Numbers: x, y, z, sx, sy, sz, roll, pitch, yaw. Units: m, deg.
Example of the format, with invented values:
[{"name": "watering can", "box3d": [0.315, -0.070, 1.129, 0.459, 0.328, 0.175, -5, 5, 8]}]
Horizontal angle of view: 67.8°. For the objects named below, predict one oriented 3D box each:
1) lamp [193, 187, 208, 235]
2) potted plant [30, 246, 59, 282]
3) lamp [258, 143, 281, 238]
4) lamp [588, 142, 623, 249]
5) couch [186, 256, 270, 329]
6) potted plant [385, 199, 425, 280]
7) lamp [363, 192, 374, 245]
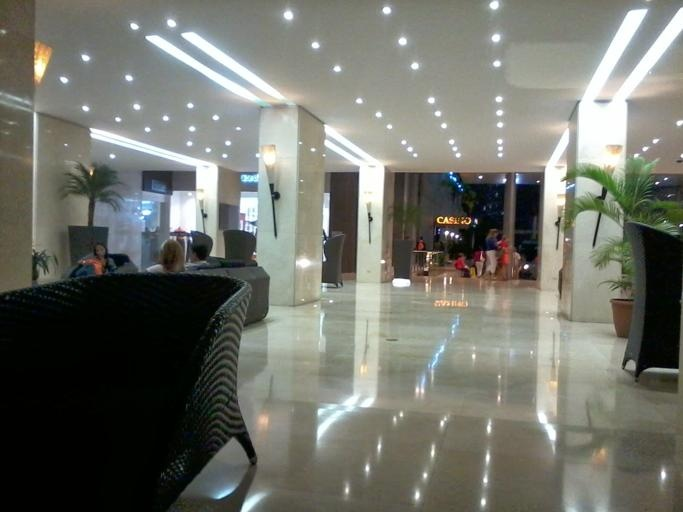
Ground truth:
[{"name": "lamp", "box3d": [-4.577, -1.522, 16.536, 0.510, 1.397, 0.219, 2, 4, 28]}, {"name": "potted plant", "box3d": [-5.011, 0.097, 8.561, 0.593, 0.452, 0.607, 7, 4, 41]}, {"name": "lamp", "box3d": [-1.239, -1.134, 8.833, 0.373, 1.596, 0.146, 1, 3, 1]}, {"name": "lamp", "box3d": [4.113, -0.896, 7.977, 0.277, 1.711, 0.300, 4, 27, 14]}, {"name": "couch", "box3d": [-1.385, 0.334, 6.617, 0.862, 0.904, 1.257, 3, 2, 21]}, {"name": "potted plant", "box3d": [2.007, -0.592, 16.441, 1.188, 2.757, 1.292, 9, -9, 0]}, {"name": "lamp", "box3d": [0.798, -1.134, 14.717, 0.257, 1.504, 0.122, 2, 4, 29]}]
